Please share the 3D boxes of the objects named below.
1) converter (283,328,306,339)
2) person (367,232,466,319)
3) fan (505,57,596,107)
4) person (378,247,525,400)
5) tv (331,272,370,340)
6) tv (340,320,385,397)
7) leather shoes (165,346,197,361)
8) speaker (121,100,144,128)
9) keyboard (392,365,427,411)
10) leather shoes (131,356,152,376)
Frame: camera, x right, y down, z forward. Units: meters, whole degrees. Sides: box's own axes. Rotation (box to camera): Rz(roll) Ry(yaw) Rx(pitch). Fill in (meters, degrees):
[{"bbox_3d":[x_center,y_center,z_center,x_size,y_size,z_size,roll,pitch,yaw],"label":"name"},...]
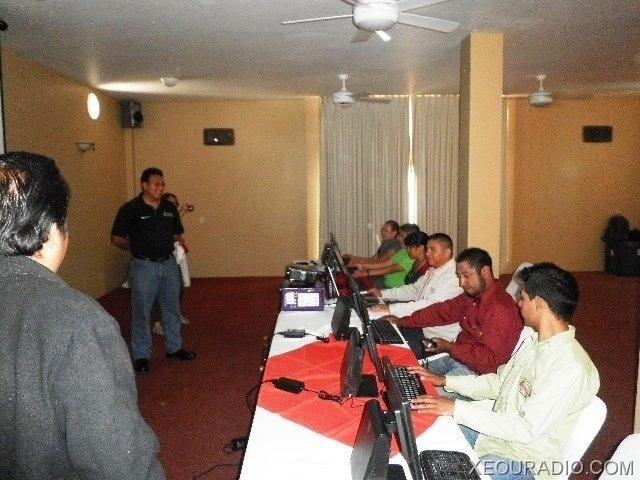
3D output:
[{"bbox_3d":[-0.166,0.599,3.078,0.108,0.036,0.060,0,0,1],"label":"converter"},{"bbox_3d":[0.789,0.377,3.916,0.854,0.848,0.627,-2,9,-13],"label":"person"},{"bbox_3d":[3.628,-2.245,7.235,0.958,0.382,0.957,-1,3,2],"label":"fan"},{"bbox_3d":[0.859,0.453,3.506,0.920,1.356,0.794,2,7,1],"label":"person"},{"bbox_3d":[0.187,0.435,3.145,0.207,0.375,0.389,-1,6,-2],"label":"tv"},{"bbox_3d":[0.194,0.603,2.403,0.253,0.349,0.469,-1,7,2],"label":"tv"},{"bbox_3d":[-1.325,1.081,4.539,0.269,0.116,0.113,-2,-2,0],"label":"leather shoes"},{"bbox_3d":[-3.036,-1.998,7.853,0.363,0.512,0.528,-1,10,-4],"label":"speaker"},{"bbox_3d":[0.405,0.663,2.123,0.118,0.022,0.310,-6,12,-1],"label":"keyboard"},{"bbox_3d":[-1.566,1.095,4.223,0.173,0.191,0.462,2,-6,-19],"label":"leather shoes"}]
